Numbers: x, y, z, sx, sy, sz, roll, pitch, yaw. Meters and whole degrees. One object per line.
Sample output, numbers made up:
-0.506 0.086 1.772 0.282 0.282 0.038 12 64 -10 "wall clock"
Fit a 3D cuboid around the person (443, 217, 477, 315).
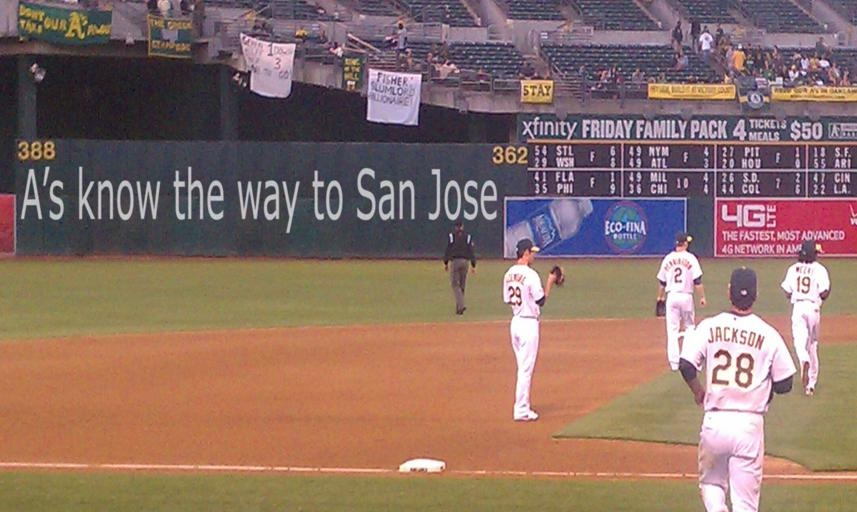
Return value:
1.275 0.645 87.527 1.085 3.487 1.598 1 4 0 "person"
